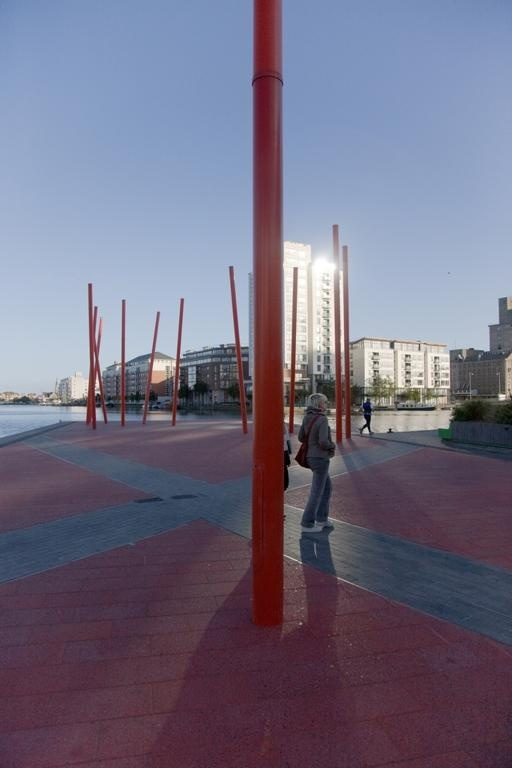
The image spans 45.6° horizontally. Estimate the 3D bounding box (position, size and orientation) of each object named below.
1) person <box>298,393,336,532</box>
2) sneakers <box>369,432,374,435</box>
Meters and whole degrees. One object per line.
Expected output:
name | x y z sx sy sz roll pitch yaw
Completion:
person | 0.620 0.782 6.315 0.368 1.360 0.850 -1 0 7
sneakers | 3.758 1.581 19.733 0.104 0.104 0.287 0 0 9
